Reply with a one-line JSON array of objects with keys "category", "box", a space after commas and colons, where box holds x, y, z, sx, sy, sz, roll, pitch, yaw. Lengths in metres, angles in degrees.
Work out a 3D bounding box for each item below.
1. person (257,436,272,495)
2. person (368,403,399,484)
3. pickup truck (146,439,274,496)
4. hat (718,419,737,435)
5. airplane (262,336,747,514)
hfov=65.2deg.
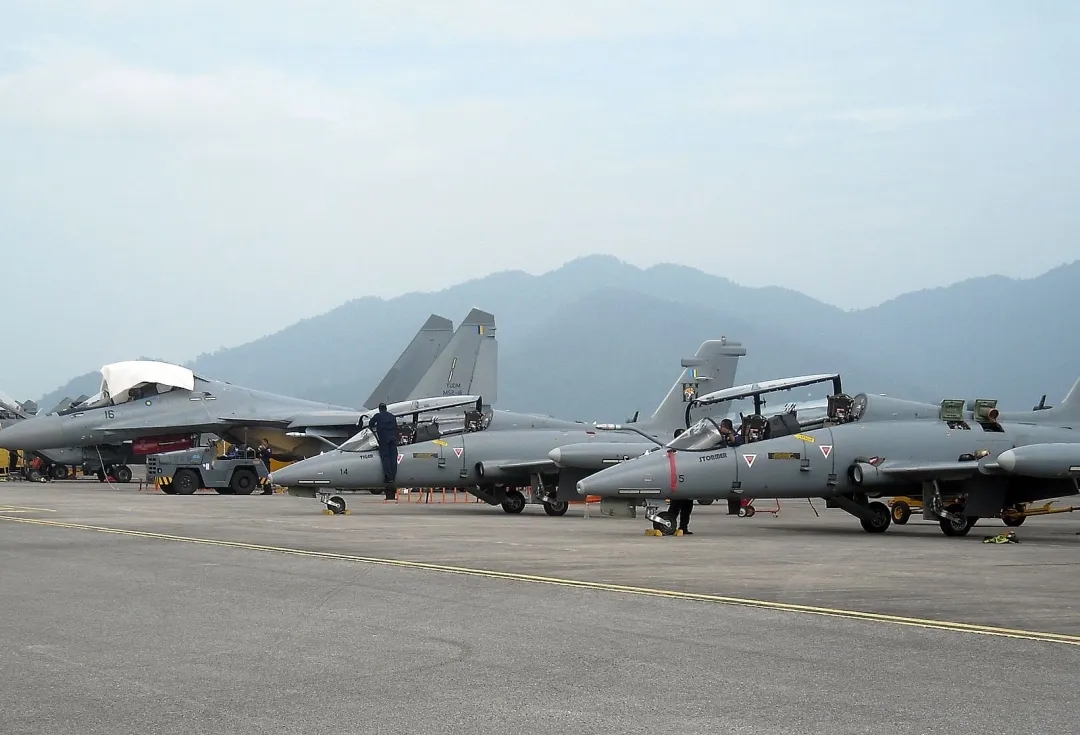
[{"category": "person", "box": [-11.272, 4.029, 34.608, 0.789, 2.293, 0.808, 10, -47, -21]}, {"category": "person", "box": [-4.372, 2.121, 23.540, 0.679, 2.270, 1.040, 0, -2, 18]}, {"category": "pickup truck", "box": [-13.174, 3.882, 33.669, 4.140, 1.777, 2.277, 7, -4, -40]}, {"category": "hat", "box": [4.053, 1.242, 18.332, 0.284, 0.369, 0.195, -1, -30, -9]}, {"category": "airplane", "box": [-1.073, 2.603, 25.585, 10.781, 3.571, 7.321, 0, -4, -9]}]
